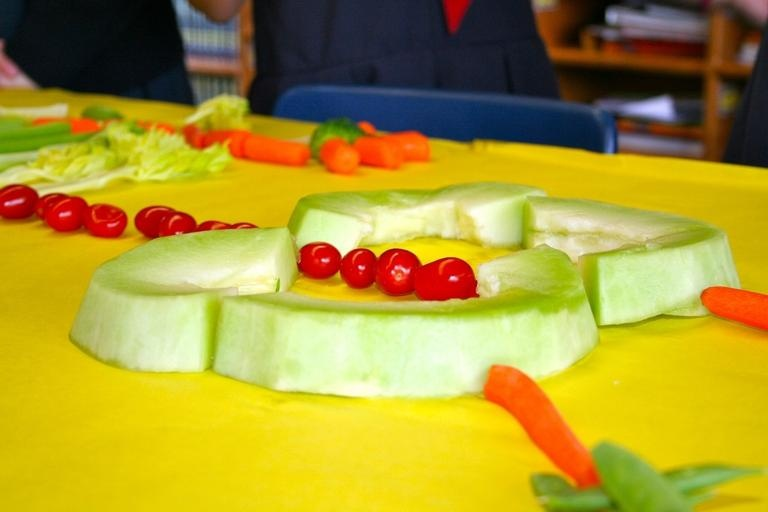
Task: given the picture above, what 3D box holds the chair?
[{"bbox_3d":[0.172,-0.425,1.923,1.000,0.173,0.234,2,65,-1],"label":"chair"}]
